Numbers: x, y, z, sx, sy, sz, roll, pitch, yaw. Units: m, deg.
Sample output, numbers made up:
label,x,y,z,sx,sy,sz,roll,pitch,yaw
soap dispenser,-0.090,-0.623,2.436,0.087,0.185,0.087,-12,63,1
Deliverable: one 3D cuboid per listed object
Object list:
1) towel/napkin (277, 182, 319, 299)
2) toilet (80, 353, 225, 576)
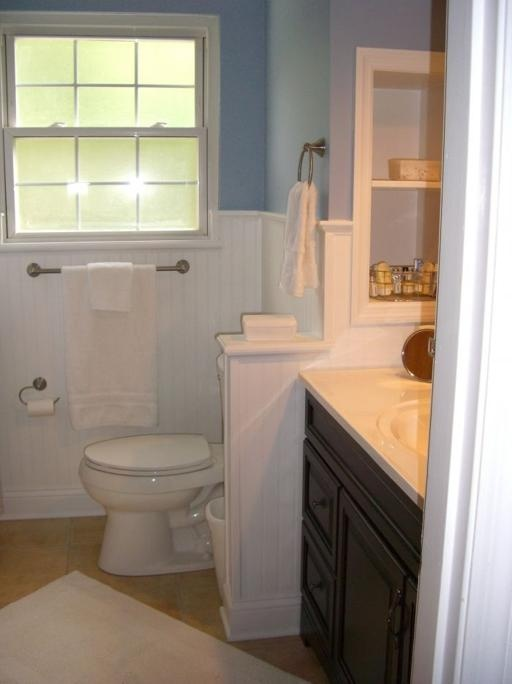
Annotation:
label,x,y,z,sx,sy,sz,roll,pitch,yaw
towel/napkin,0.147,-0.331,1.757,0.104,0.353,0.154,-1,7,-12
toilet,-0.426,0.677,2.347,0.550,0.521,0.471,-3,12,-23
